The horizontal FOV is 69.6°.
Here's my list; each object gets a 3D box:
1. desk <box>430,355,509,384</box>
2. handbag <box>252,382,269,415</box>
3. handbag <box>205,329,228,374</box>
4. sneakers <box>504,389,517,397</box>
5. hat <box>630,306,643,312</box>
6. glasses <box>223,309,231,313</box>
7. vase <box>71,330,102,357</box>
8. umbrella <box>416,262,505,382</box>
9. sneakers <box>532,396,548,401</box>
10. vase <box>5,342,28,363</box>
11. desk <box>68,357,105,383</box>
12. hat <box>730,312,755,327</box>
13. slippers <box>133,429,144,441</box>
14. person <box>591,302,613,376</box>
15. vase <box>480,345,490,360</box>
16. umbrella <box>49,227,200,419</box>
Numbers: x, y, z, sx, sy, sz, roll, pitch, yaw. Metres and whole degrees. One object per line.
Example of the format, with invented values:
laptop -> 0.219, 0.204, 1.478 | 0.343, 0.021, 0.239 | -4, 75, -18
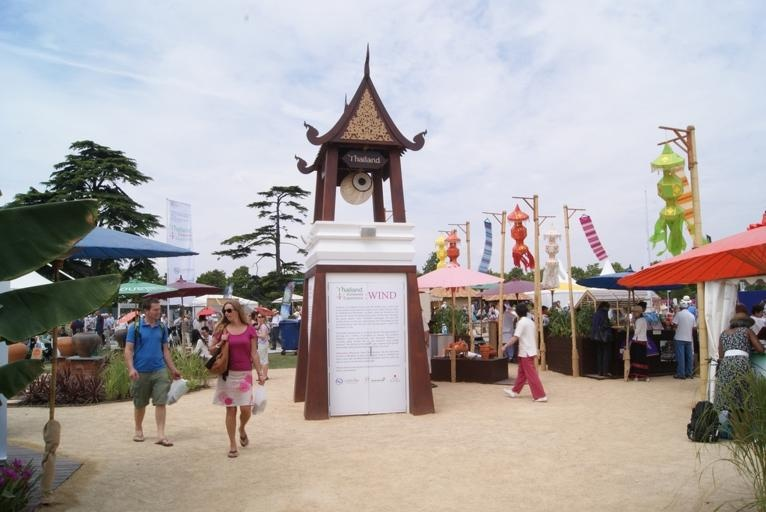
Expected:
desk -> 2.875, 3.669, 17.692 | 1.457, 0.551, 1.094 | 0, 1, 16
handbag -> -2.335, 2.664, 10.329 | 0.248, 0.599, 0.669 | 1, -7, -13
handbag -> -2.924, 1.710, 9.779 | 0.412, 0.799, 0.345 | -13, -29, 36
sneakers -> 3.384, 3.655, 14.718 | 0.128, 0.156, 0.348 | 12, 4, -34
hat -> 8.062, 1.658, 17.435 | 0.287, 0.244, 0.414 | -4, -8, 26
glasses -> -2.808, 0.974, 9.880 | 0.170, 0.068, 0.074 | -5, -8, 31
vase -> -8.049, 2.353, 14.891 | 0.685, 0.580, 0.695 | 3, -6, -11
umbrella -> 2.162, 1.886, 17.174 | 3.405, 3.616, 3.090 | -4, 3, -24
sneakers -> 3.998, 3.610, 13.971 | 0.387, 0.121, 0.261 | -1, -7, -1
vase -> -6.909, 1.796, 10.392 | 0.242, 0.319, 0.687 | 3, -8, -26
desk -> -7.928, 2.938, 14.543 | 0.654, 0.644, 0.595 | 0, -3, -13
hat -> 6.780, 1.200, 10.384 | 0.266, 0.321, 0.339 | 1, 0, 3
slippers -> -4.762, 3.460, 10.608 | 0.128, 0.233, 0.362 | 13, -22, -34
person -> 7.173, 2.710, 18.083 | 0.579, 2.398, 0.789 | -3, -7, 21
vase -> 3.293, 3.047, 17.499 | 0.418, 0.446, 0.406 | 1, -7, -12
umbrella -> -5.633, 0.827, 10.962 | 2.785, 2.882, 2.851 | 3, -1, -29
